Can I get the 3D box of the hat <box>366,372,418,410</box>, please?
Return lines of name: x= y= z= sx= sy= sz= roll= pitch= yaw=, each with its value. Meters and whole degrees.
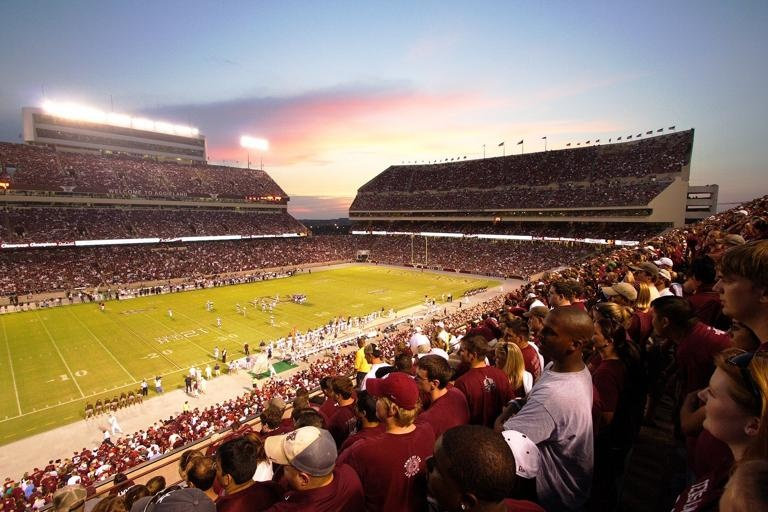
hat: x=0.139 y=1.944 z=6.389 sx=0.690 sy=0.347 sz=0.430 roll=25 pitch=21 yaw=13

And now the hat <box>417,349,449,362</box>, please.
hat: x=1.052 y=1.971 z=8.984 sx=0.714 sy=0.214 sz=0.495 roll=-2 pitch=-1 yaw=9

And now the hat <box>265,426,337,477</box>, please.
hat: x=-1.098 y=2.678 z=6.018 sx=0.950 sy=0.416 sz=0.557 roll=22 pitch=23 yaw=-1
